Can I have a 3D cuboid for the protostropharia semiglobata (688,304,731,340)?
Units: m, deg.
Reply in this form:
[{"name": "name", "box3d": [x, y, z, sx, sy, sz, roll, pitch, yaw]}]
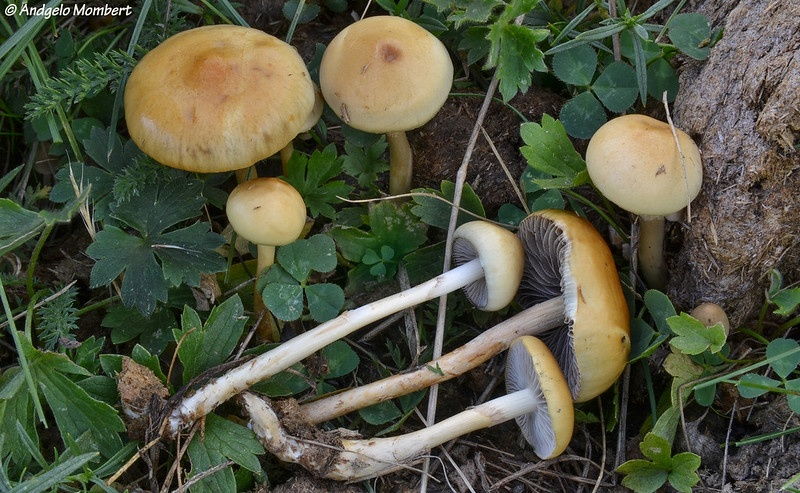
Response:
[{"name": "protostropharia semiglobata", "box3d": [1.836, 0.480, 3.784, 0.208, 0.122, 0.184, -27, 33, 1]}]
